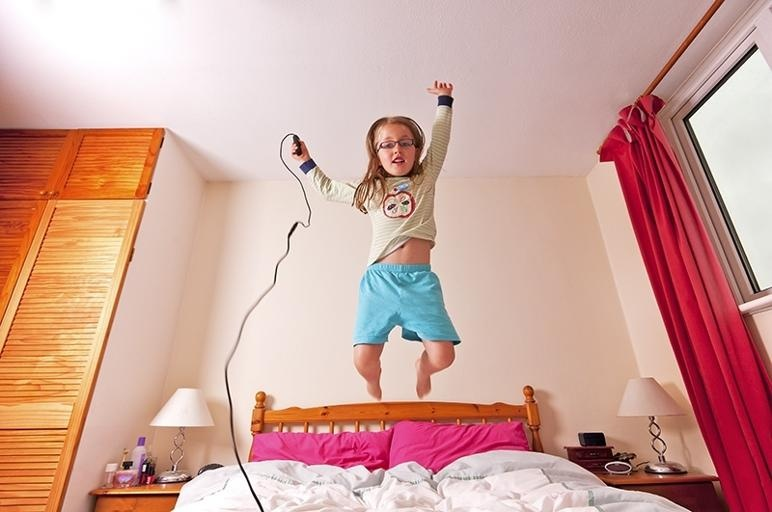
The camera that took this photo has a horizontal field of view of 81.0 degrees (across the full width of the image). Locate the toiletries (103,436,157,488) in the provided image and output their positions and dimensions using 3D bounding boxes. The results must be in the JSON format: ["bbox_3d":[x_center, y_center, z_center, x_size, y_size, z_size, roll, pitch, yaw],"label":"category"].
[{"bbox_3d":[-1.772,1.480,3.153,0.185,0.397,0.403,-26,-32,23],"label":"toiletries"}]

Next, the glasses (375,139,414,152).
[{"bbox_3d":[0.057,-0.639,2.602,0.193,0.065,0.055,-3,-6,6],"label":"glasses"}]

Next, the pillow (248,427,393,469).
[{"bbox_3d":[-0.431,1.336,3.192,0.684,0.361,0.250,-1,-15,-2],"label":"pillow"}]
